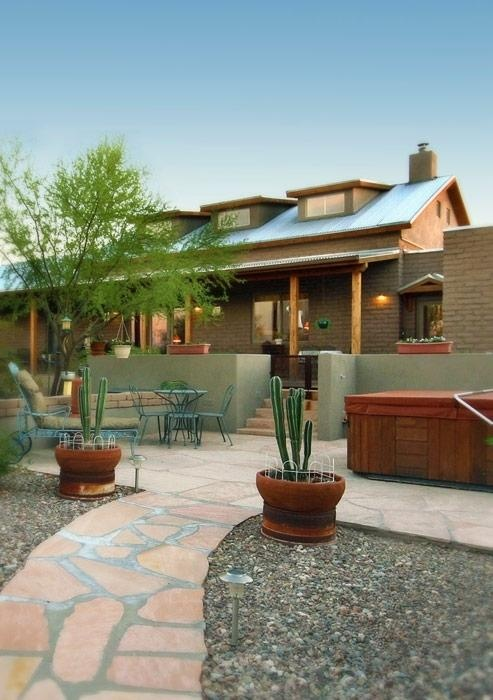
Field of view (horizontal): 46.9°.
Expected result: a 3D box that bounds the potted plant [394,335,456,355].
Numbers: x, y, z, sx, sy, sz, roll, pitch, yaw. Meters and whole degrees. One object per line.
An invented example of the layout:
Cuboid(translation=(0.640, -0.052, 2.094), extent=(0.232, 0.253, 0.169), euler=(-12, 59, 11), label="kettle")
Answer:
Cuboid(translation=(2.678, -0.066, 8.637), extent=(0.700, 0.276, 0.778), euler=(0, -1, 8), label="potted plant")

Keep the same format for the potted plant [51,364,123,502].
Cuboid(translation=(-1.355, 0.707, 4.887), extent=(0.608, 1.019, 0.589), euler=(3, -2, -37), label="potted plant")

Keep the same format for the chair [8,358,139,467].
Cuboid(translation=(-2.164, 0.659, 6.721), extent=(2.069, 1.356, 0.842), euler=(0, 2, 0), label="chair")

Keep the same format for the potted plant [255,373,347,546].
Cuboid(translation=(0.367, 0.706, 3.897), extent=(0.586, 1.034, 0.904), euler=(0, -1, 8), label="potted plant")

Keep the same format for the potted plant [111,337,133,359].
Cuboid(translation=(-2.521, -0.033, 11.706), extent=(0.451, 0.455, 0.442), euler=(-1, -2, 39), label="potted plant")

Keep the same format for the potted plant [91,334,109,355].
Cuboid(translation=(-3.692, -0.134, 14.281), extent=(0.608, 0.557, 0.584), euler=(1, -7, -19), label="potted plant")
